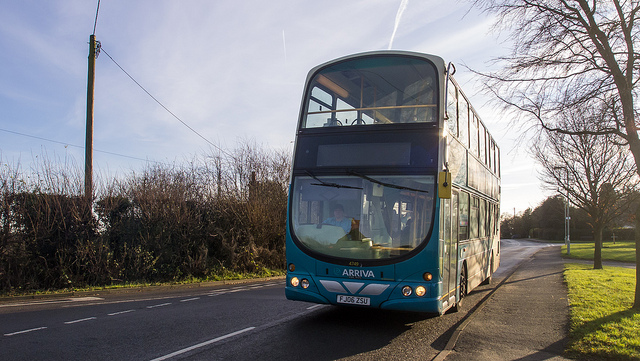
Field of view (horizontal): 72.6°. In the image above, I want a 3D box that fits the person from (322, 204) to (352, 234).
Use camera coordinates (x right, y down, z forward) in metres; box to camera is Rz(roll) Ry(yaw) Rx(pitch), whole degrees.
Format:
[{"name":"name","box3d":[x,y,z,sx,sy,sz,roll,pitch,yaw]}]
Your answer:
[{"name":"person","box3d":[0.550,1.324,14.161,1.055,0.953,0.538,-1,3,0]}]
